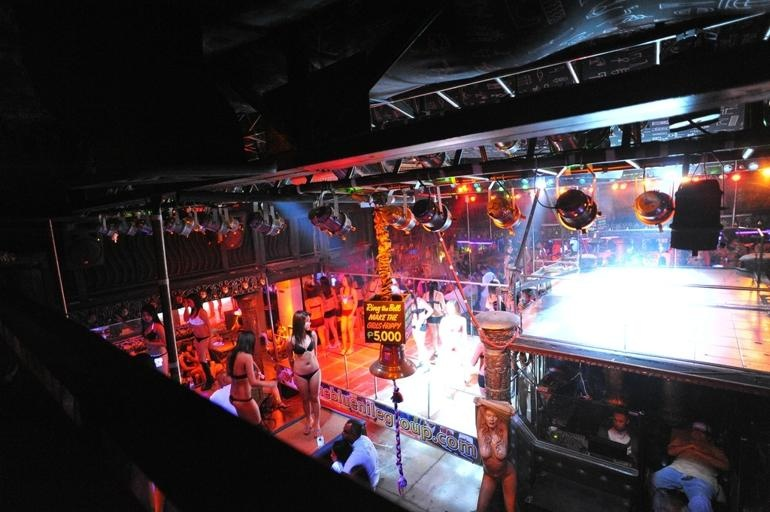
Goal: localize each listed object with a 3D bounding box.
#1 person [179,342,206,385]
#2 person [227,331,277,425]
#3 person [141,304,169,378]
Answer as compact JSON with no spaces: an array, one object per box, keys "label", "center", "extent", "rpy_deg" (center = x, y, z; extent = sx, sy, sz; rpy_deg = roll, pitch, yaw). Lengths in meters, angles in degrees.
[{"label":"person","center":[-4.824,2.662,12.479],"extent":[0.692,1.196,0.530],"rpy_deg":[-6,4,-5]},{"label":"person","center":[-2.473,2.217,9.043],"extent":[0.731,1.412,0.807],"rpy_deg":[17,5,42]},{"label":"person","center":[-5.237,1.817,11.301],"extent":[0.750,1.215,1.468],"rpy_deg":[12,4,-24]}]
